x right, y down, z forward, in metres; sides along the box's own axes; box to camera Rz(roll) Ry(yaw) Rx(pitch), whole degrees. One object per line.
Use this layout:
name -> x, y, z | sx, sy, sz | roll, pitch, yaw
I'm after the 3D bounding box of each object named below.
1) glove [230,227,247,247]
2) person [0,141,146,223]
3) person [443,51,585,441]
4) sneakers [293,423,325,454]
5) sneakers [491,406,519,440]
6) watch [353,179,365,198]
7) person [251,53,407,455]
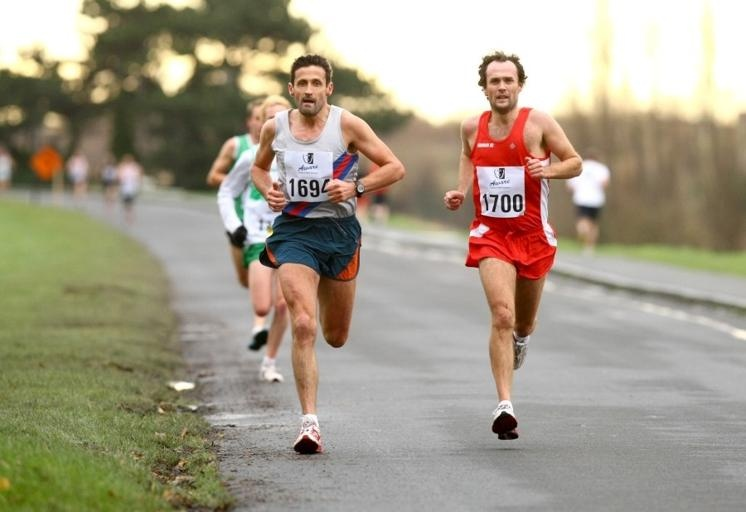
glove -> -1.359, -0.188, 9.788 | 0.192, 0.222, 0.196 | 2, 4, 8
person -> -3.275, -0.818, 11.703 | 0.421, 0.933, 1.537 | 2, 5, 16
person -> 1.081, -0.121, 7.667 | 0.945, 2.984, 1.510 | 2, 3, 5
sneakers -> -0.454, 1.298, 6.924 | 0.211, 0.234, 0.208 | 1, 4, -5
sneakers -> 0.967, 1.220, 7.061 | 0.173, 0.267, 0.165 | 2, 3, 6
watch -> -0.092, -0.493, 7.220 | 0.073, 0.127, 0.109 | 0, -9, -7
person -> -0.390, -0.059, 7.399 | 0.896, 2.896, 0.998 | -1, 4, -36
